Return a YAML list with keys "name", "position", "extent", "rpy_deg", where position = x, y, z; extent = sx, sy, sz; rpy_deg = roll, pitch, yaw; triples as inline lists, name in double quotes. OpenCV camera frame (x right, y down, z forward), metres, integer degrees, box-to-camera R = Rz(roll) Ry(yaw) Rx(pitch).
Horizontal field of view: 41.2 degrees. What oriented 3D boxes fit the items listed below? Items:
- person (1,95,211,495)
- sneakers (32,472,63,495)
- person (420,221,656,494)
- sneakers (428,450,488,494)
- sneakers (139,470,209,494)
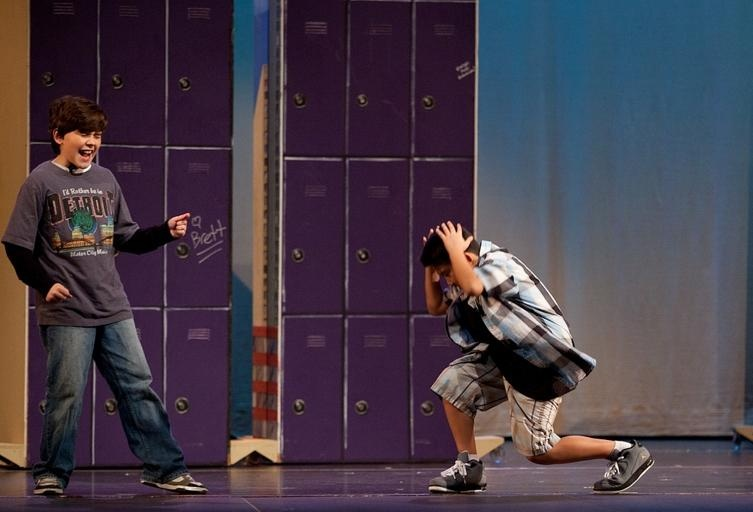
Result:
- name: "person"
  position: [-1.505, 0.225, 5.301]
  extent: [0.860, 2.090, 0.273]
  rpy_deg: [-2, 3, -18]
- name: "sneakers"
  position: [-1.717, 1.190, 5.282]
  extent: [0.078, 0.080, 0.180]
  rpy_deg: [1, 1, -2]
- name: "person"
  position: [0.799, 0.546, 5.463]
  extent: [1.091, 1.450, 0.434]
  rpy_deg: [-1, 3, 1]
- name: "sneakers"
  position: [0.443, 1.185, 5.468]
  extent: [0.163, 0.196, 0.465]
  rpy_deg: [-14, -17, 39]
- name: "sneakers"
  position: [-1.076, 1.214, 5.441]
  extent: [0.379, 0.163, 0.128]
  rpy_deg: [4, -3, -5]
